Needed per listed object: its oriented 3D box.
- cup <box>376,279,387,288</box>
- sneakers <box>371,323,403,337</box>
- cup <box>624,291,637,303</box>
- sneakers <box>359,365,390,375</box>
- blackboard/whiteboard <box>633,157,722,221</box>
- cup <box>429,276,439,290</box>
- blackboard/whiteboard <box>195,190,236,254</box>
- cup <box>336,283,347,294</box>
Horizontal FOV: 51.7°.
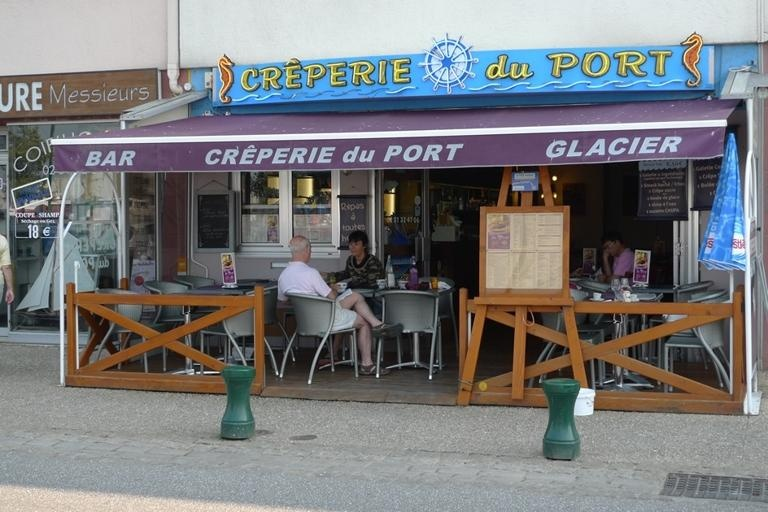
[{"bbox_3d":[-0.047,0.385,11.176,0.098,0.097,0.125,-5,-12,43],"label":"cup"},{"bbox_3d":[0.037,0.951,10.054,0.372,0.143,0.154,-5,-30,4],"label":"sneakers"},{"bbox_3d":[2.968,0.487,9.498,0.127,0.123,0.178,0,-8,0],"label":"cup"},{"bbox_3d":[-0.146,1.482,10.286,0.322,0.093,0.158,-2,-2,9],"label":"sneakers"},{"bbox_3d":[3.977,-0.910,10.588,0.977,0.856,0.094,-1,-1,28],"label":"blackboard/whiteboard"},{"bbox_3d":[0.676,0.371,10.640,0.150,0.246,0.141,-1,-1,0],"label":"cup"},{"bbox_3d":[-2.668,-0.548,12.419,0.636,0.889,0.065,1,-1,11],"label":"blackboard/whiteboard"},{"bbox_3d":[-0.595,0.428,10.821,0.145,0.116,0.107,3,0,0],"label":"cup"}]
